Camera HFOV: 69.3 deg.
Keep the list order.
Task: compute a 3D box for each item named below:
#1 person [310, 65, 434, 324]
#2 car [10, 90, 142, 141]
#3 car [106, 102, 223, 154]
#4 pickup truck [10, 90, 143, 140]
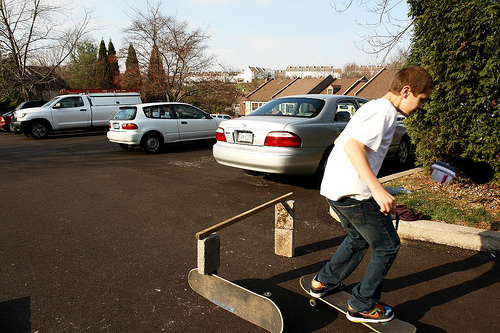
[{"bbox_3d":[1.242,0.319,3.844,0.855,2.654,0.752,8,15,36],"label":"person"},{"bbox_3d":[-8.840,-2.715,18.852,6.442,2.495,2.492,-12,6,-42],"label":"car"},{"bbox_3d":[-2.876,-1.377,13.099,4.286,1.456,1.948,-9,13,-39],"label":"car"},{"bbox_3d":[-8.652,-2.853,18.952,6.382,2.349,2.449,-10,13,-38],"label":"pickup truck"}]
